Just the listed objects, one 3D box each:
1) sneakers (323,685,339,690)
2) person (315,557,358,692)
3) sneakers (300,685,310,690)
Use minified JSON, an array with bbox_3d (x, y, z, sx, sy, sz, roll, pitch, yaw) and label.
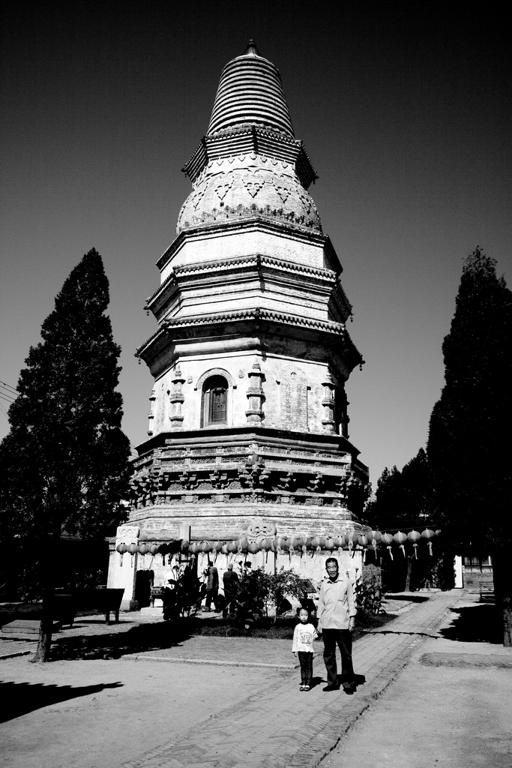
[{"bbox_3d":[0.983,4.025,8.312,0.195,0.078,0.292,-3,-19,8],"label":"sneakers"},{"bbox_3d":[1.102,3.276,8.613,0.502,1.714,0.800,-2,-17,6],"label":"person"},{"bbox_3d":[0.639,4.026,8.293,0.119,0.072,0.149,-1,-19,3],"label":"sneakers"}]
